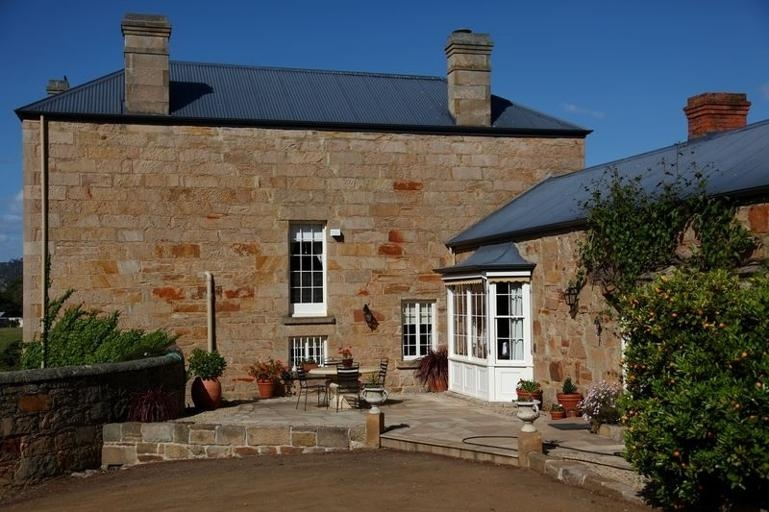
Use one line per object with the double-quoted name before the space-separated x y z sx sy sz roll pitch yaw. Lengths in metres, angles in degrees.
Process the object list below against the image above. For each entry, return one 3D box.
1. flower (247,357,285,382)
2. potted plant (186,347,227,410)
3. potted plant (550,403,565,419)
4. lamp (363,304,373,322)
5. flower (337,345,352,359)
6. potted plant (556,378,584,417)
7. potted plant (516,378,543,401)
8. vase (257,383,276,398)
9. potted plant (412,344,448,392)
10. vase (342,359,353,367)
"flower" -2.915 2.820 19.462 0.676 0.457 0.652 4 4 -12
"potted plant" -4.084 2.816 18.010 0.778 1.433 0.969 -6 5 -20
"potted plant" 3.579 3.206 16.173 0.282 0.271 0.282 -1 -4 14
"lamp" -0.421 1.455 20.031 0.263 0.461 0.093 -7 5 -32
"flower" -0.979 2.406 19.699 0.300 0.209 0.299 4 -7 -32
"potted plant" 3.887 2.928 16.442 0.542 0.772 0.548 2 -5 -21
"potted plant" 3.179 2.964 17.177 0.572 0.458 0.614 -3 4 11
"vase" -2.935 3.321 19.394 0.391 0.287 0.389 -3 -7 20
"potted plant" 1.304 3.002 20.476 1.009 0.995 1.002 0 -5 -10
"vase" -0.849 2.440 17.885 0.164 0.119 0.163 2 -9 -10
